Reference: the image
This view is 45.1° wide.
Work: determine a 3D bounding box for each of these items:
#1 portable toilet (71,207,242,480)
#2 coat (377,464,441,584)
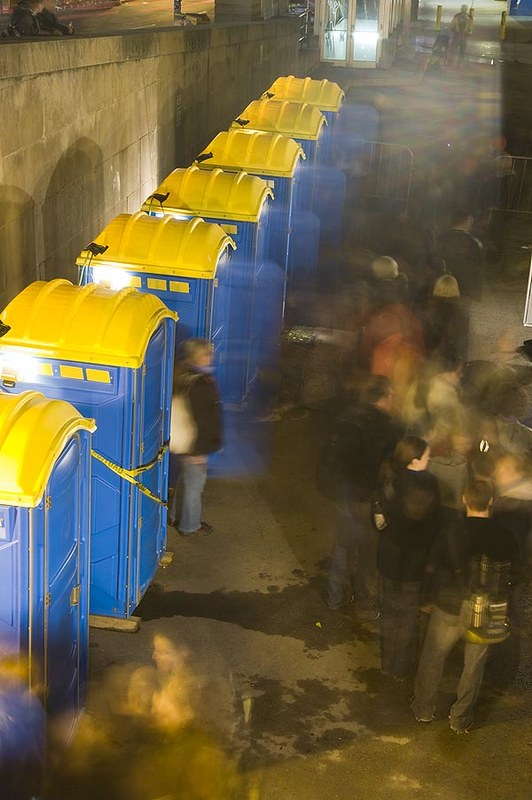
[{"bbox_3d":[-0.831,-1.033,6.425,1.575,2.492,1.450,7,25,11],"label":"portable toilet"},{"bbox_3d":[0.891,0.711,3.812,0.329,0.662,0.425,3,1,29],"label":"coat"}]
